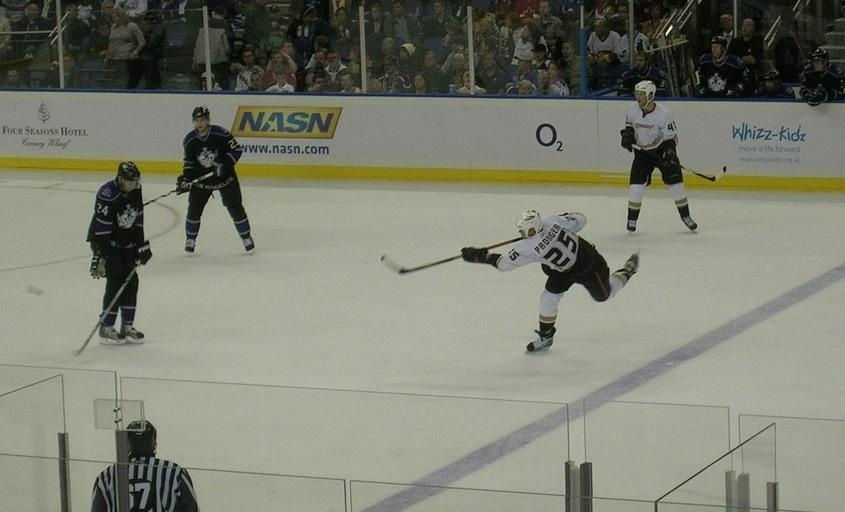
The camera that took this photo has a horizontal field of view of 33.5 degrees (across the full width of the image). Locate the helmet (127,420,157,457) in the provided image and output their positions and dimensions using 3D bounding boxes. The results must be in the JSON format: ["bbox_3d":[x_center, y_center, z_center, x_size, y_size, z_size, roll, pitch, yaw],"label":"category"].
[{"bbox_3d":[-2.437,1.590,12.368,0.145,0.369,0.312,7,11,32],"label":"helmet"}]

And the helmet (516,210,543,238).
[{"bbox_3d":[1.245,-0.407,15.751,0.347,0.284,0.264,11,22,11],"label":"helmet"}]

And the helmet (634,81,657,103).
[{"bbox_3d":[3.053,-2.305,19.074,0.348,0.304,0.271,4,5,9],"label":"helmet"}]

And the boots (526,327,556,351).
[{"bbox_3d":[1.397,0.928,16.069,0.512,0.294,0.153,-4,24,1],"label":"boots"}]

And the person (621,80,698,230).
[{"bbox_3d":[3.263,-1.415,19.253,1.008,2.085,0.614,2,9,6],"label":"person"}]

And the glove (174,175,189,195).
[{"bbox_3d":[-3.173,-0.997,18.768,0.251,0.220,0.081,0,-12,33],"label":"glove"}]

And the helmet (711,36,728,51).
[{"bbox_3d":[4.527,-3.242,20.935,0.262,0.213,0.189,11,-9,-35],"label":"helmet"}]

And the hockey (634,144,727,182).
[{"bbox_3d":[3.712,-1.401,19.988,2.627,0.338,0.352,7,31,-49],"label":"hockey"}]

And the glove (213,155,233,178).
[{"bbox_3d":[-2.658,-1.252,18.816,0.236,0.266,0.102,-3,5,-5],"label":"glove"}]

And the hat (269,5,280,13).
[{"bbox_3d":[-2.334,-4.022,22.293,0.134,0.088,0.135,15,24,36],"label":"hat"}]

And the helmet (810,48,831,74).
[{"bbox_3d":[5.884,-2.977,20.758,0.290,0.337,0.373,-12,19,27],"label":"helmet"}]

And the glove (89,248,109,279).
[{"bbox_3d":[-3.775,0.067,16.375,0.164,0.341,0.288,-1,9,-12],"label":"glove"}]

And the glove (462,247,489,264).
[{"bbox_3d":[0.627,-0.031,16.023,0.276,0.094,0.151,5,45,-1],"label":"glove"}]

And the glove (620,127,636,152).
[{"bbox_3d":[2.863,-1.672,19.383,0.233,0.301,0.119,-4,-5,-14],"label":"glove"}]

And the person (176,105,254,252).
[{"bbox_3d":[-2.791,-1.068,18.904,1.008,1.979,0.508,0,10,-9],"label":"person"}]

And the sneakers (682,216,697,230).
[{"bbox_3d":[3.688,-0.477,19.168,0.142,0.243,0.077,-29,-8,-10],"label":"sneakers"}]

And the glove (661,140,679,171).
[{"bbox_3d":[3.444,-1.451,19.216,0.254,0.385,0.199,2,9,3],"label":"glove"}]
